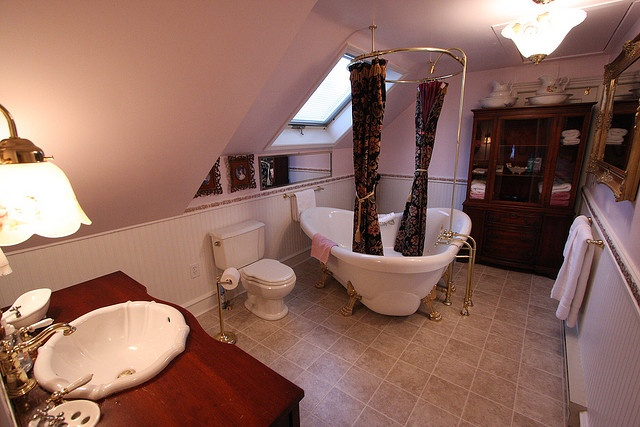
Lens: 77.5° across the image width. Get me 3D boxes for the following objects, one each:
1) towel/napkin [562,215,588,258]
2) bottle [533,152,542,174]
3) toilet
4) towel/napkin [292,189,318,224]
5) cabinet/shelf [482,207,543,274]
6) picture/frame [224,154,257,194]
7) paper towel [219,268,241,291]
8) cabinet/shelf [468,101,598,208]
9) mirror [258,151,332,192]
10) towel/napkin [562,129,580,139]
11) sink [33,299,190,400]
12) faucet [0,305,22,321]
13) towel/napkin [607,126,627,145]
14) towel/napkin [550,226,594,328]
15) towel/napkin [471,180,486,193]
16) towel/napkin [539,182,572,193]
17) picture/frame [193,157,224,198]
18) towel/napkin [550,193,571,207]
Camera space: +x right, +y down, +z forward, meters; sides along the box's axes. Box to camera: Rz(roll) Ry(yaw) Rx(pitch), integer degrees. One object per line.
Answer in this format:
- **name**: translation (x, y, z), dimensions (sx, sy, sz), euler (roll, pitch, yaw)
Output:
- **towel/napkin**: translation (2.157, 0.181, 3.363), dimensions (0.099, 0.235, 0.377), euler (20, 31, 22)
- **bottle**: translation (2.385, -0.541, 4.355), dimensions (0.082, 0.184, 0.026), euler (8, 19, 28)
- **toilet**: translation (-0.583, 0.561, 3.837), dimensions (0.784, 0.796, 0.559), euler (14, 22, 38)
- **towel/napkin**: translation (-0.181, -0.079, 4.502), dimensions (0.079, 0.311, 0.341), euler (4, 13, 34)
- **cabinet/shelf**: translation (2.232, 0.147, 4.645), dimensions (0.624, 0.874, 0.464), euler (8, 45, 24)
- **picture/frame**: translation (-0.809, -0.402, 3.970), dimensions (0.032, 0.352, 0.344), euler (5, 15, 33)
- **paper towel**: translation (-0.765, 0.567, 3.362), dimensions (0.158, 0.203, 0.161), euler (-5, 17, -15)
- **cabinet/shelf**: translation (2.334, -0.644, 4.269), dimensions (1.060, 1.058, 0.358), euler (6, 14, 26)
- **mirror**: translation (-0.259, -0.519, 4.579), dimensions (1.047, 0.361, 0.021), euler (-12, 20, -37)
- **towel/napkin**: translation (2.596, -0.804, 4.118), dimensions (0.107, 0.037, 0.111), euler (-4, 39, 36)
- **sink**: translation (-1.087, 0.793, 2.209), dimensions (0.710, 0.286, 0.721), euler (3, 24, 3)
- **faucet**: translation (-1.742, 0.553, 2.253), dimensions (0.108, 0.042, 0.079), euler (9, 6, 20)
- **towel/napkin**: translation (2.166, -0.573, 2.904), dimensions (0.163, 0.059, 0.129), euler (-47, 29, -11)
- **towel/napkin**: translation (2.086, 0.459, 3.237), dimensions (0.194, 0.652, 0.636), euler (16, 19, 30)
- **towel/napkin**: translation (1.835, -0.321, 4.605), dimensions (0.129, 0.140, 0.045), euler (19, 1, 36)
- **towel/napkin**: translation (2.519, -0.281, 4.276), dimensions (0.314, 0.114, 0.064), euler (9, 19, 31)
- **picture/frame**: translation (-0.987, -0.318, 3.501), dimensions (0.029, 0.414, 0.390), euler (5, 4, 27)
- **towel/napkin**: translation (2.565, -0.153, 4.251), dimensions (0.143, 0.146, 0.053), euler (6, 8, 43)
